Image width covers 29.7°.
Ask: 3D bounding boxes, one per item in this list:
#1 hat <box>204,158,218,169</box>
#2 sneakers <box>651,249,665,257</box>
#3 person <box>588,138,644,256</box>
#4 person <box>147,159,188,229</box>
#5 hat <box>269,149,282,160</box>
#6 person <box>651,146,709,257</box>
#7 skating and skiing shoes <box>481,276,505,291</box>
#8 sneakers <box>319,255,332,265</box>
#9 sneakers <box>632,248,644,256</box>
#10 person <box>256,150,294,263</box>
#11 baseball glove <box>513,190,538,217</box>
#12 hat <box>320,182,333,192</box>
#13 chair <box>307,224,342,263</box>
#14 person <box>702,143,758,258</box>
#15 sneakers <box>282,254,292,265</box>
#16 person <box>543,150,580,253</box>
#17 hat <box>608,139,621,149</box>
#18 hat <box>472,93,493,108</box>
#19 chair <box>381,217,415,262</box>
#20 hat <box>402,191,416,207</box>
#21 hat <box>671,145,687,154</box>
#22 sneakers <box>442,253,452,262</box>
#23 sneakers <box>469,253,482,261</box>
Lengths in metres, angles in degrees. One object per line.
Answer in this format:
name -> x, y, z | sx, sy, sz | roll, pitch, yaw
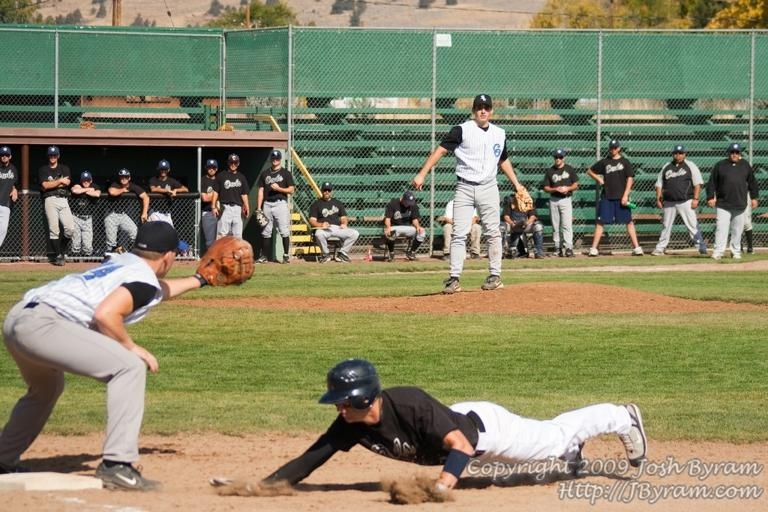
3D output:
hat -> -4.228, -2.255, 35.408 | 0.265, 0.208, 0.382 | 4, -4, -10
sneakers -> 6.862, -0.061, 36.330 | 0.142, 0.145, 0.346 | 0, -1, 43
person -> 5.834, -1.462, 36.722 | 1.259, 2.933, 0.816 | 1, 2, 6
person -> -5.400, -1.079, 35.742 | 0.947, 2.481, 0.812 | 3, 5, 3
hat -> -2.707, -2.501, 35.921 | 0.383, 0.189, 0.534 | 4, -4, -2
person -> 7.348, -1.363, 35.836 | 0.883, 2.743, 1.330 | -1, 3, -43
skating and skiing shoes -> 2.273, 0.566, 29.588 | 0.208, 0.241, 0.552 | -1, -2, 33
sneakers -> -1.469, 0.099, 35.768 | 0.143, 0.162, 0.385 | -2, -4, 17
sneakers -> 6.451, -0.101, 36.717 | 0.149, 0.154, 0.351 | 0, 5, 2
person -> -2.710, -1.204, 35.481 | 0.878, 2.739, 0.630 | 0, 2, -5
baseball glove -> 3.299, -1.196, 34.193 | 0.459, 0.274, 0.628 | 26, 27, -32
hat -> -1.538, -1.711, 35.861 | 0.316, 0.226, 0.504 | 4, -1, -2
chair -> -1.347, -0.440, 35.817 | 0.631, 0.695, 0.531 | -27, 4, -15
person -> 8.413, -1.319, 35.105 | 0.750, 2.823, 1.410 | 3, 3, 41
sneakers -> -2.402, 0.106, 35.572 | 0.176, 0.241, 0.245 | 0, -17, -2
person -> 4.486, -1.339, 36.729 | 0.796, 2.714, 0.875 | 1, 2, 14
hat -> 5.837, -2.815, 36.684 | 0.242, 0.222, 0.348 | 1, 2, 5
hat -> 1.967, -3.073, 28.963 | 0.338, 0.301, 0.508 | 1, 2, 5
chair -> 0.394, -0.459, 36.524 | 0.928, 1.097, 0.843 | 1, 5, -21
hat -> 0.597, -1.436, 36.497 | 0.289, 0.378, 0.208 | -9, -23, -22
hat -> 7.347, -2.652, 36.031 | 0.303, 0.220, 0.436 | 2, -6, 21
sneakers -> 1.576, 0.032, 36.789 | 0.119, 0.236, 0.341 | -4, 2, -2
sneakers -> 2.312, 0.025, 36.709 | 0.266, 0.250, 0.137 | -1, 9, 12
